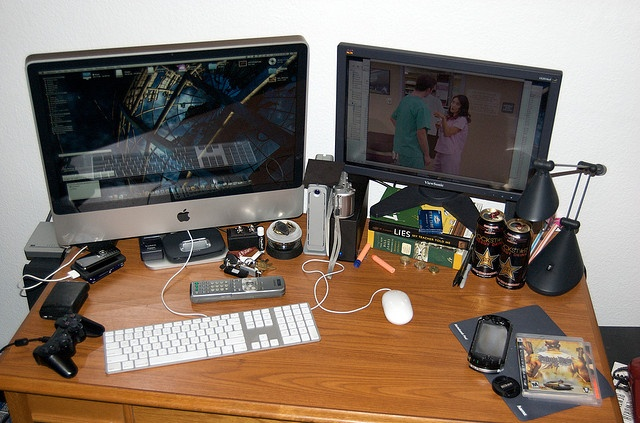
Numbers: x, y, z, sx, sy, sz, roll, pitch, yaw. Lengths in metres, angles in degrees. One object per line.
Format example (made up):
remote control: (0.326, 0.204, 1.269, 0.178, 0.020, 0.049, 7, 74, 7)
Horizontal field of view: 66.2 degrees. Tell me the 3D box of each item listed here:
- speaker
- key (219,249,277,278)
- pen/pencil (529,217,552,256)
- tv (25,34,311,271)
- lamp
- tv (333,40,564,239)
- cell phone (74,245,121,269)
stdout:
speaker: (0.082, 0.035, 1.841, 0.130, 0.289, 0.173, 7, 30, 12)
key: (-0.282, 0.190, 1.783, 0.120, 0.047, 0.098, 8, 40, 10)
pen/pencil: (0.780, 0.090, 1.742, 0.022, 0.161, 0.018, 35, 1, -7)
tv: (-0.486, -0.196, 1.693, 0.916, 0.728, 0.211, -6, 34, -10)
lamp: (0.804, 0.075, 1.656, 0.296, 0.172, 0.499, -4, 50, 3)
tv: (0.437, -0.312, 1.730, 0.831, 0.669, 0.088, 19, 37, 30)
cell phone: (-0.801, 0.164, 1.766, 0.109, 0.025, 0.076, -22, 34, -38)
